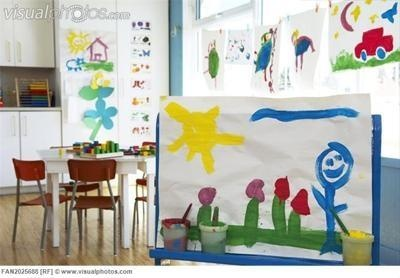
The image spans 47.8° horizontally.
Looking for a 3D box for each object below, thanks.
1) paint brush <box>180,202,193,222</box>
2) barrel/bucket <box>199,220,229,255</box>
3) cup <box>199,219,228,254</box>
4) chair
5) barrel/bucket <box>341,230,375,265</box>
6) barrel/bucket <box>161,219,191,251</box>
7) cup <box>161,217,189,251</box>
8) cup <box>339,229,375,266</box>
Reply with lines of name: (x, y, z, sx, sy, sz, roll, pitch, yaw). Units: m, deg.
paint brush: (-0.086, 0.499, 3.048, 0.026, 0.164, 0.034, 7, -24, 46)
barrel/bucket: (0.092, 0.673, 3.067, 0.229, 0.177, 0.227, -5, -1, 0)
cup: (0.116, 0.671, 3.067, 0.217, 0.174, 0.225, 2, -2, 0)
chair: (-1.091, 0.500, 4.447, 1.175, 0.715, 1.182, -1, -3, -2)
barrel/bucket: (1.015, 0.711, 2.923, 0.201, 0.215, 0.194, 0, 4, 0)
barrel/bucket: (-0.160, 0.662, 3.094, 0.221, 0.196, 0.225, 0, -4, 0)
cup: (-0.162, 0.656, 3.094, 0.220, 0.196, 0.214, 0, -1, 0)
cup: (0.995, 0.681, 2.859, 0.197, 0.220, 0.197, 1, -4, 0)
